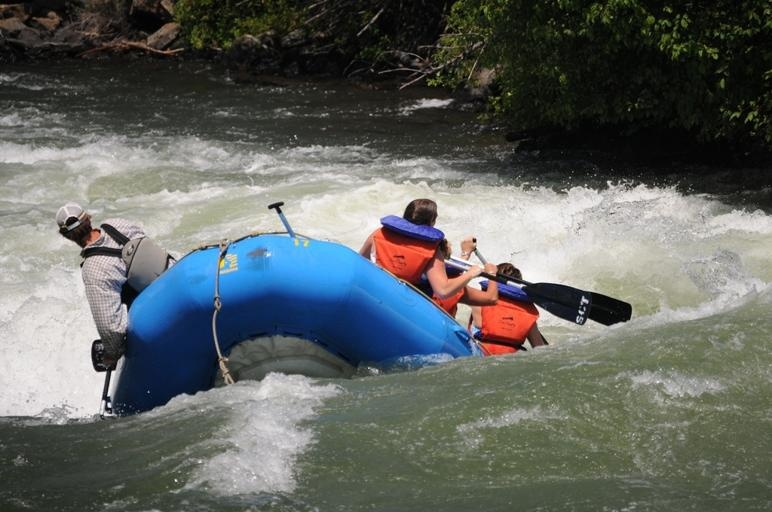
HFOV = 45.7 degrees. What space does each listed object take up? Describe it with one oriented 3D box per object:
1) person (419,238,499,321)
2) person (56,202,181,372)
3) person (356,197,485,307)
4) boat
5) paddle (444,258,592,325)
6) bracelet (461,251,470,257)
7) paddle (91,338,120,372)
[{"bbox_3d":[0.917,0.224,11.236,0.952,0.405,1.217,13,-2,24],"label":"person"},{"bbox_3d":[-3.292,0.454,11.118,1.020,0.914,2.197,5,-25,31],"label":"person"},{"bbox_3d":[0.434,-0.014,11.491,1.080,0.599,1.586,34,-24,3],"label":"person"},{"bbox_3d":[-1.151,0.642,10.234,2.777,2.134,0.935,1,38,-18],"label":"boat"},{"bbox_3d":[1.630,0.471,11.473,2.599,0.429,0.276,10,51,-12],"label":"paddle"},{"bbox_3d":[0.988,-0.036,11.452,0.075,0.047,0.095,3,-10,14],"label":"bracelet"},{"bbox_3d":[-3.171,1.115,10.493,0.298,0.392,0.146,-4,7,40],"label":"paddle"}]
